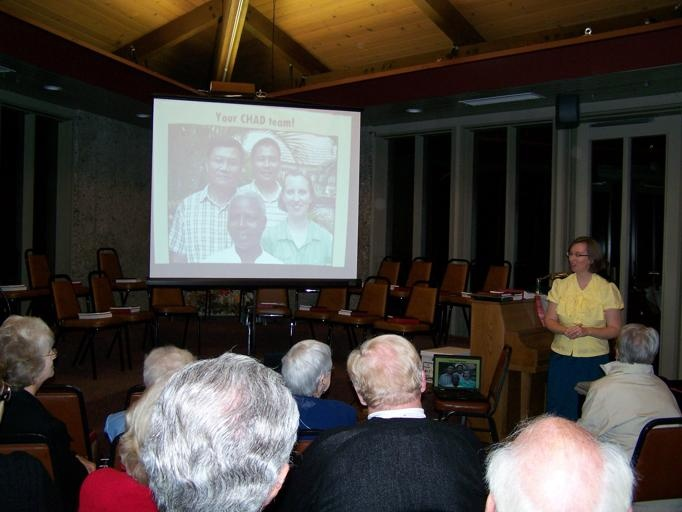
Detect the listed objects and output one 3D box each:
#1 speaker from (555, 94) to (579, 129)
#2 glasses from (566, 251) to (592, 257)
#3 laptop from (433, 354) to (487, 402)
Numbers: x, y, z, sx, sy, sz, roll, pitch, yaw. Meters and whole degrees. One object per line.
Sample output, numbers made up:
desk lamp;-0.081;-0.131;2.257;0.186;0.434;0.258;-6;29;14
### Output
speaker;2.521;-1.637;6.263;0.234;0.358;0.317;2;3;20
glasses;1.532;-0.013;3.643;0.058;0.035;0.153;-2;4;-44
laptop;0.836;0.863;3.921;0.362;0.263;0.306;2;5;-6
